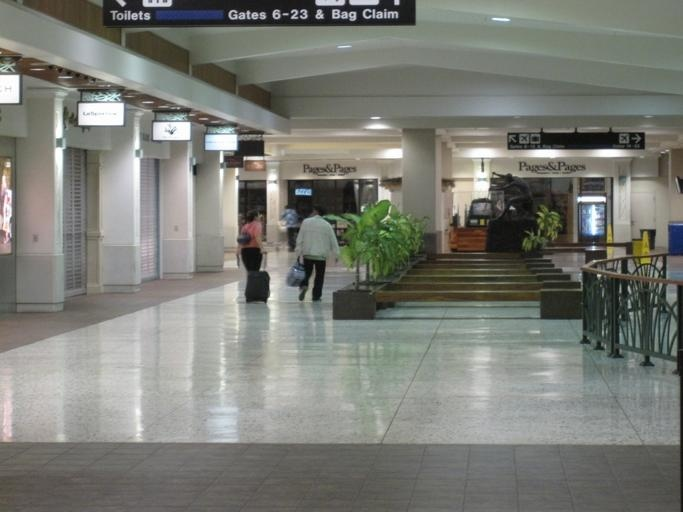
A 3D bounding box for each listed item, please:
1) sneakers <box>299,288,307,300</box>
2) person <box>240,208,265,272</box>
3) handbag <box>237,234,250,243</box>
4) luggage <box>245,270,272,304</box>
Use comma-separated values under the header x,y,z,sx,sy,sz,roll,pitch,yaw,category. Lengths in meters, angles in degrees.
x,y,z,sx,sy,sz,roll,pitch,yaw,category
-0.849,0.848,13.198,0.128,0.302,0.131,12,6,-8,sneakers
-2.092,-0.309,13.703,0.573,1.423,1.223,-1,2,-9,person
-2.228,-0.393,13.564,0.264,0.198,0.247,-2,3,-15,handbag
-1.805,0.684,13.143,0.568,0.718,0.430,2,-6,4,luggage
